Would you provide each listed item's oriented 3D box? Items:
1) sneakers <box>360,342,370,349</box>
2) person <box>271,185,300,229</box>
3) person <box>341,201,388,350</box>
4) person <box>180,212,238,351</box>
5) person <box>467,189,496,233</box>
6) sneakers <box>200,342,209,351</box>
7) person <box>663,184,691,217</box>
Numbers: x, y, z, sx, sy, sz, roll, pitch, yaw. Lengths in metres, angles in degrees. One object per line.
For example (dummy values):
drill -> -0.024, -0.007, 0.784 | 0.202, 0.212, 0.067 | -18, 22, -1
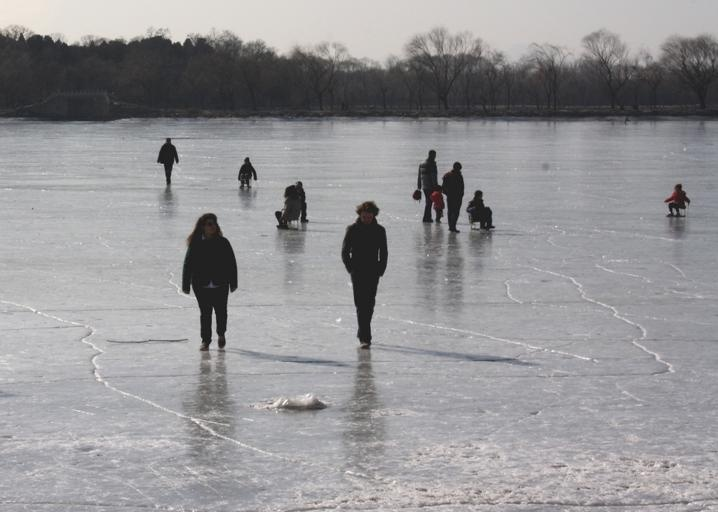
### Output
sneakers -> 0.024, 1.193, 19.193 | 0.152, 0.082, 0.099 | 4, 8, 29
person -> -1.490, -1.014, 29.388 | 0.510, 0.819, 0.950 | 0, 7, -3
person -> 0.016, 0.216, 19.514 | 0.602, 1.898, 0.825 | 0, 7, 2
person -> -2.014, 0.325, 19.282 | 0.697, 1.762, 0.619 | -1, 7, -6
person -> 2.344, -0.911, 28.871 | 0.397, 0.751, 0.641 | -6, 9, -38
sneakers -> -2.056, 1.198, 19.068 | 0.133, 0.094, 0.262 | 1, -1, -6
person -> 6.712, -1.259, 31.211 | 0.445, 0.689, 1.860 | 1, 7, 12
